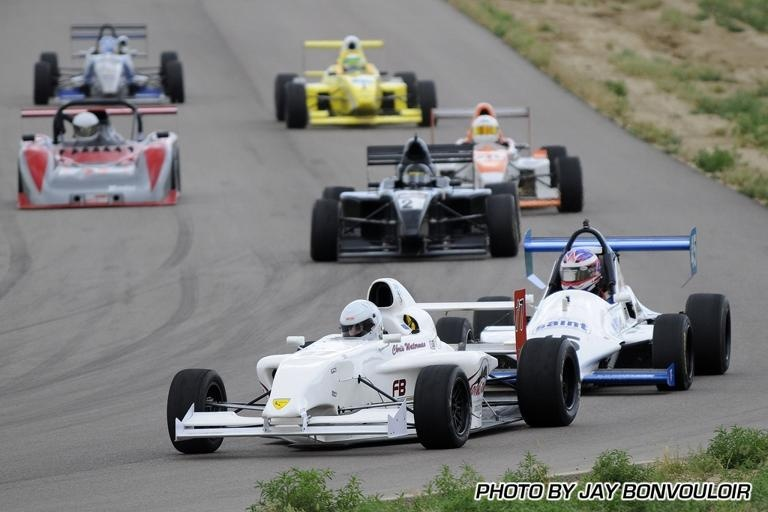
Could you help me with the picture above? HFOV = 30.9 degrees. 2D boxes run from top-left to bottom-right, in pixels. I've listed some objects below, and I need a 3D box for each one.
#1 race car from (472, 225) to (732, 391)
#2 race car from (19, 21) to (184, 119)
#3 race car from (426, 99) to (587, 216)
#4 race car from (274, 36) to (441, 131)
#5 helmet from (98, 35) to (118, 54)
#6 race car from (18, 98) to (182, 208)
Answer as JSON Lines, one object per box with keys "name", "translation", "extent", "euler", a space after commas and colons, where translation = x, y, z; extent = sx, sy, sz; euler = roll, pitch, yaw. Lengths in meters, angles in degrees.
{"name": "race car", "translation": [3.649, 1.011, 25.955], "extent": [4.870, 3.184, 7.433], "euler": [-1, 1, 20]}
{"name": "race car", "translation": [-8.181, -5.646, 41.374], "extent": [4.212, 2.432, 6.633], "euler": [-2, 13, -13]}
{"name": "race car", "translation": [3.067, -2.356, 34.589], "extent": [2.972, 2.162, 5.760], "euler": [-2, 4, 2]}
{"name": "race car", "translation": [-0.834, -4.913, 40.169], "extent": [4.664, 2.579, 6.715], "euler": [-3, 10, -14]}
{"name": "helmet", "translation": [-7.840, -6.029, 39.742], "extent": [0.572, 0.442, 0.538], "euler": [-4, 11, -10]}
{"name": "race car", "translation": [-6.793, -2.372, 33.284], "extent": [2.519, 3.024, 7.670], "euler": [2, 1, -5]}
